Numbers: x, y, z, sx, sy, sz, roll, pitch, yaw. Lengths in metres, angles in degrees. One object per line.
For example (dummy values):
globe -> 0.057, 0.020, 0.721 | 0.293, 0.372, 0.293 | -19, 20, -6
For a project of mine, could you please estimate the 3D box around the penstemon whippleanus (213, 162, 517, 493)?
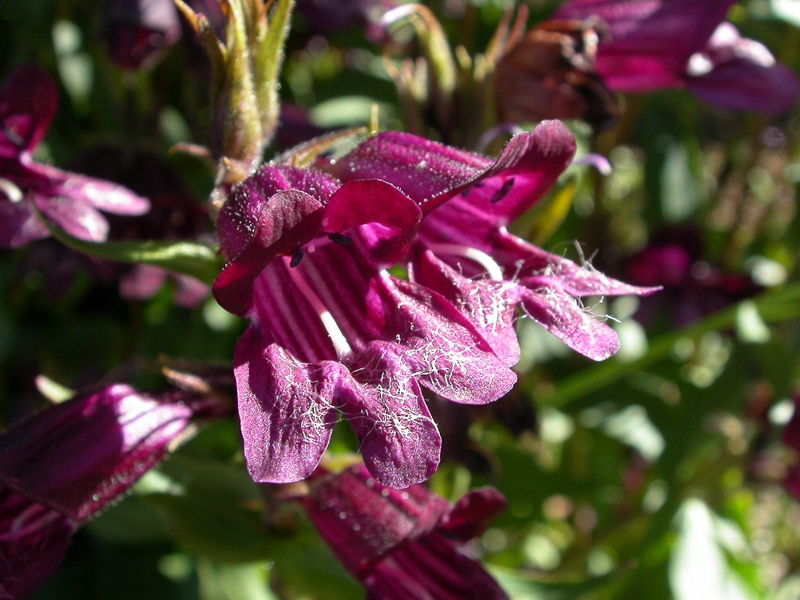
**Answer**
penstemon whippleanus -> -0.066, 0.011, 0.969 | 0.277, 0.171, 0.410 | -23, 71, -13
